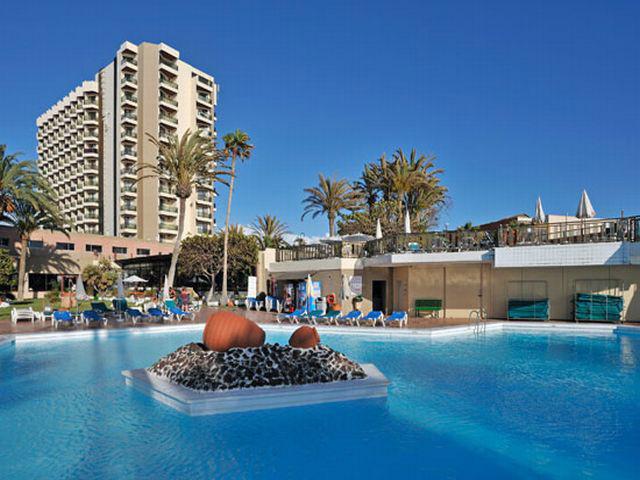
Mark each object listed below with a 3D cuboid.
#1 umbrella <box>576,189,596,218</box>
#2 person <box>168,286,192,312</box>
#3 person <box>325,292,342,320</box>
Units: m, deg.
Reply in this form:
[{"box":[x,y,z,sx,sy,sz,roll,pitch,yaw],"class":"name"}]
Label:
[{"box":[13.621,-1.808,24.598,0.742,1.253,1.403,-4,-9,30],"class":"umbrella"},{"box":[-9.315,3.940,31.481,1.069,1.705,3.657,2,-7,-27],"class":"person"},{"box":[0.728,3.652,26.378,0.839,1.829,0.894,-1,1,-31],"class":"person"}]
